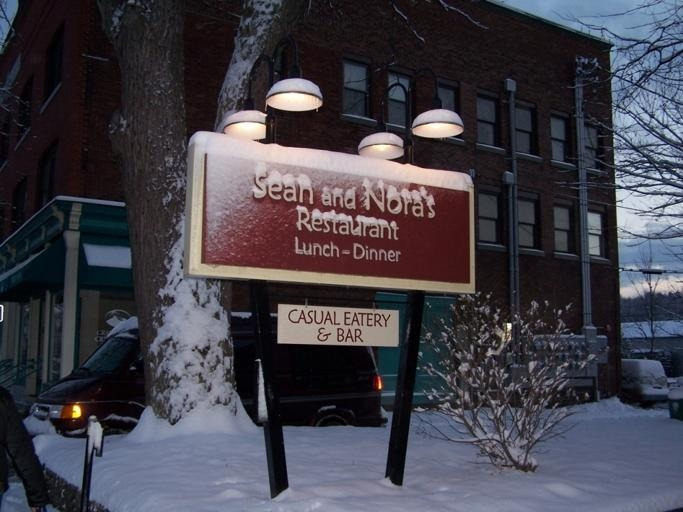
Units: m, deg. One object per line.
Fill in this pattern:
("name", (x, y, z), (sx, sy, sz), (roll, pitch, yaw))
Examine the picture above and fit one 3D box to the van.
("van", (-2.544, 2.892, 15.885), (5.499, 2.967, 3.155), (10, -18, -29))
